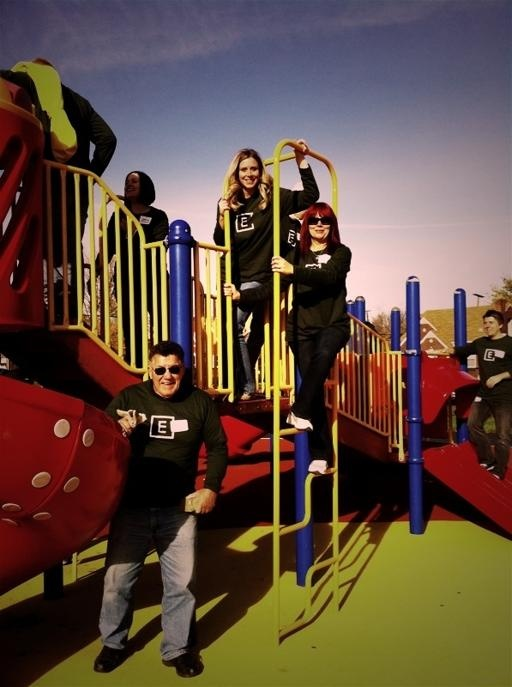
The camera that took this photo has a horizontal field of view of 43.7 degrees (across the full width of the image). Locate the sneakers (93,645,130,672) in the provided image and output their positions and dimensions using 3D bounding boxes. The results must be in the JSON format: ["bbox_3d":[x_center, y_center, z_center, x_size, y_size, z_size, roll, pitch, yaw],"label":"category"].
[{"bbox_3d":[-0.679,1.491,3.020,0.083,0.078,0.190,-3,-14,16],"label":"sneakers"}]

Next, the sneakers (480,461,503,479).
[{"bbox_3d":[2.171,1.172,5.896,0.170,0.104,0.131,36,-4,23],"label":"sneakers"}]

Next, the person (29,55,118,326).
[{"bbox_3d":[-1.176,-1.037,3.945,0.578,1.529,0.477,-12,-22,0],"label":"person"}]

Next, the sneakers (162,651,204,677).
[{"bbox_3d":[-0.344,1.491,2.991,0.178,0.072,0.090,-6,-11,44],"label":"sneakers"}]

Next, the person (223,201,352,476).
[{"bbox_3d":[0.250,-0.022,3.575,0.582,1.599,0.789,1,-2,-1],"label":"person"}]

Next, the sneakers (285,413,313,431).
[{"bbox_3d":[0.226,0.414,3.347,0.120,0.107,0.197,1,-2,5],"label":"sneakers"}]

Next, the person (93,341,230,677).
[{"bbox_3d":[-0.442,0.766,3.009,0.598,1.550,0.291,1,-2,-5],"label":"person"}]
